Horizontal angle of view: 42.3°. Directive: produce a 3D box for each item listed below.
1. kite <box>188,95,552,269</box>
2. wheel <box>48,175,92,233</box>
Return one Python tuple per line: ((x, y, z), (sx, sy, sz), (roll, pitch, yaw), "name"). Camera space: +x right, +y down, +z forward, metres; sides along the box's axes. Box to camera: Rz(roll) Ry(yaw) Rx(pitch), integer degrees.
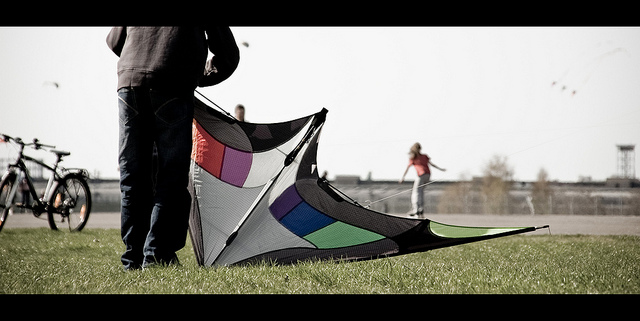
((-0.205, 0.377, 13.694), (3.881, 2.787, 0.441), (2, -6, -1), "kite")
((-4.696, 0.778, 15.589), (0.260, 1.083, 0.809), (-4, -8, 43), "wheel")
